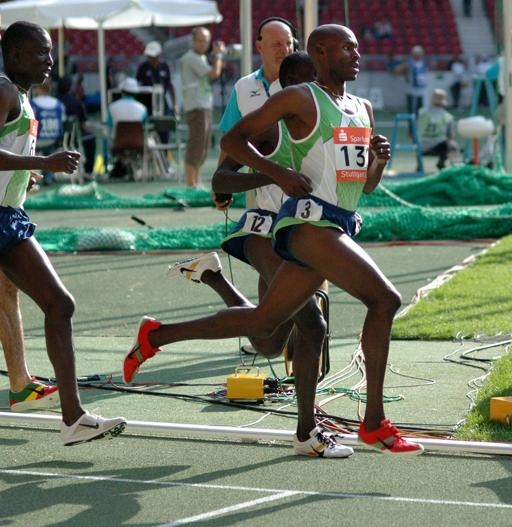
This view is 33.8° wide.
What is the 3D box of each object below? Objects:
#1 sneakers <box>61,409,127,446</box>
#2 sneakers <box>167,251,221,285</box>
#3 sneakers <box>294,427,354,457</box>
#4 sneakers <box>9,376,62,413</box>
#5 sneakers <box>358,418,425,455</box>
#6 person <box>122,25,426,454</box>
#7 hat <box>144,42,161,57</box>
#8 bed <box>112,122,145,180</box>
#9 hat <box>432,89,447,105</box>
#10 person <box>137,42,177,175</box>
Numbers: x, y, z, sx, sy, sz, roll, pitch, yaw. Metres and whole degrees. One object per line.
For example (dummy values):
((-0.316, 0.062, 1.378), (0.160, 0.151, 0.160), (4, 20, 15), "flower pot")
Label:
((-0.614, 0.614, 3.185), (0.262, 0.095, 0.080), (-17, -18, 17), "sneakers")
((-0.253, 0.016, 3.791), (0.309, 0.122, 0.101), (-8, -4, 28), "sneakers")
((0.263, 0.695, 3.281), (0.254, 0.094, 0.087), (-6, 1, 34), "sneakers")
((-0.938, 0.561, 3.630), (0.337, 0.120, 0.103), (-5, -10, 15), "sneakers")
((0.479, 0.615, 2.997), (0.261, 0.095, 0.088), (4, 8, 37), "sneakers")
((0.101, -0.105, 3.098), (1.002, 1.511, 0.372), (0, 9, 12), "person")
((-0.565, -1.183, 4.659), (0.085, 0.059, 0.117), (17, 27, 5), "hat")
((-2.316, -1.979, 14.953), (0.753, 0.726, 1.199), (9, 7, -8), "bed")
((3.345, -3.033, 15.418), (0.294, 0.290, 0.345), (-1, 11, 2), "hat")
((-0.613, -1.015, 5.236), (0.263, 0.644, 0.236), (-6, 8, -31), "person")
